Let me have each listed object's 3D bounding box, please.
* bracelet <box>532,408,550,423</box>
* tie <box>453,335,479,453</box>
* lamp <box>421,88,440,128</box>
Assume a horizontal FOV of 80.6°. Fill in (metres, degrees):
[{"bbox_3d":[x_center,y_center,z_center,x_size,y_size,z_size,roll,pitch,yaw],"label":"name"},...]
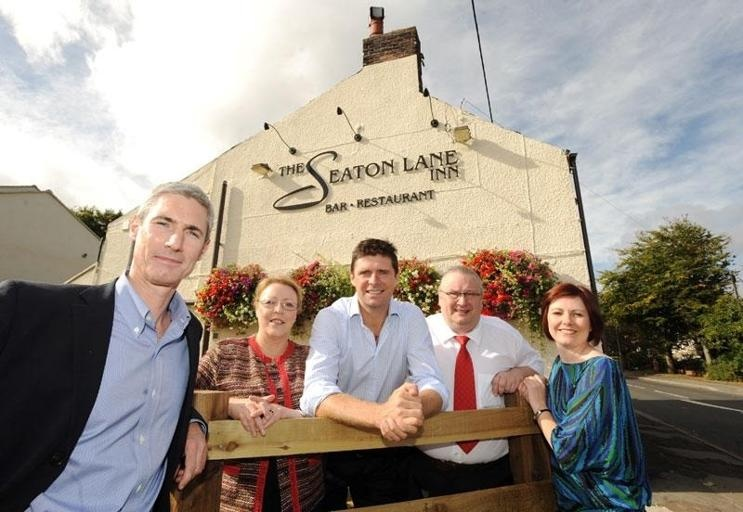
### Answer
[{"bbox_3d":[1.190,1.112,3.076,0.118,0.073,0.111,-27,-56,23],"label":"bracelet"},{"bbox_3d":[0.820,1.019,3.901,0.204,0.631,0.167,-3,-14,10],"label":"tie"},{"bbox_3d":[1.113,-2.878,8.240,0.323,0.793,0.447,-2,-14,7],"label":"lamp"}]
